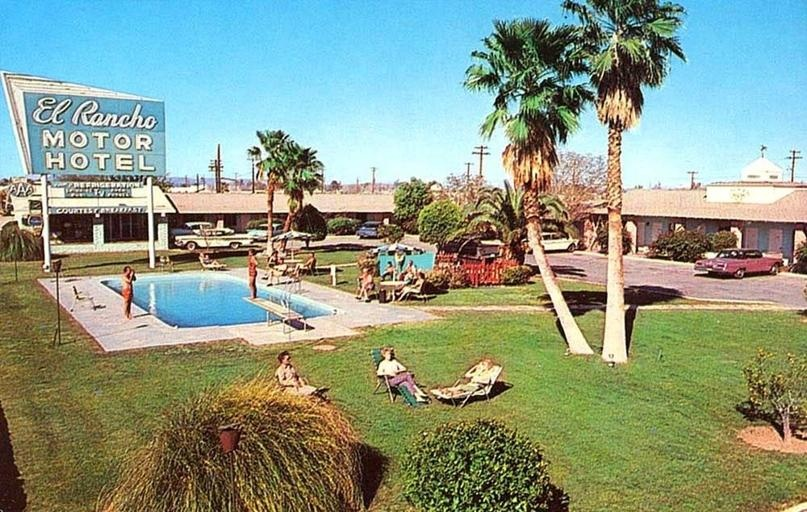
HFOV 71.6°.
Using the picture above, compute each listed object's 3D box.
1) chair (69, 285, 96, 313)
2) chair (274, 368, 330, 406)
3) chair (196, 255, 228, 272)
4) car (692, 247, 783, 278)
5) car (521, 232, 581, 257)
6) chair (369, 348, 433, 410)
[{"bbox_3d":[-16.108,2.178,28.081,0.848,1.183,0.811,1,9,-7],"label":"chair"},{"bbox_3d":[-2.774,3.576,15.277,1.590,1.244,0.792,3,24,8],"label":"chair"},{"bbox_3d":[-13.839,0.608,39.963,1.779,0.668,1.344,6,4,42],"label":"chair"},{"bbox_3d":[22.111,0.404,36.962,5.605,1.715,2.057,-3,7,-21],"label":"car"},{"bbox_3d":[10.459,-0.862,39.748,4.008,1.450,1.805,-4,9,-11],"label":"car"},{"bbox_3d":[-0.110,3.686,17.018,0.900,1.135,2.006,-15,19,-37],"label":"chair"}]
